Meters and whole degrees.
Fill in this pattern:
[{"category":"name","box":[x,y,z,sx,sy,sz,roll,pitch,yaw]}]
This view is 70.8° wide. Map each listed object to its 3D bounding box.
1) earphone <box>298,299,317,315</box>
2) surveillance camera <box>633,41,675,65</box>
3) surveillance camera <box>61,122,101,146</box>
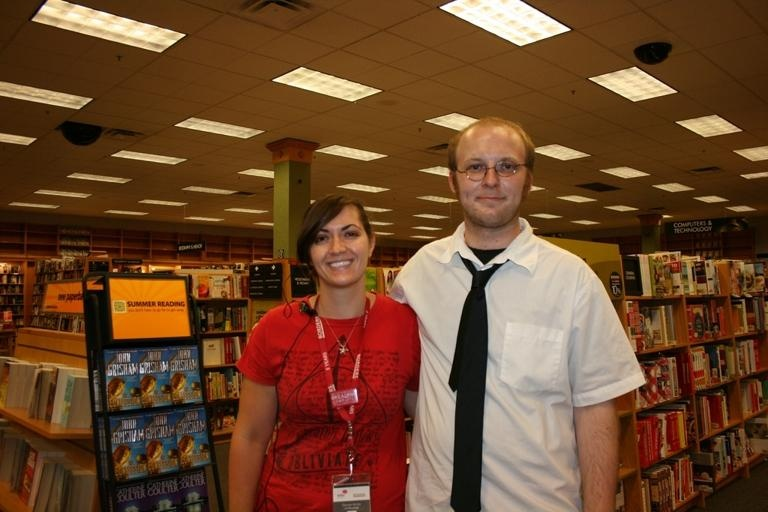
[{"category":"earphone","box":[-0.417,0.270,2.946,0.063,0.098,0.072,4,38,15]},{"category":"surveillance camera","box":[3.310,-2.482,6.626,0.421,0.130,0.620,-4,-4,35]},{"category":"surveillance camera","box":[-4.935,-2.018,8.714,0.423,0.261,0.400,4,-17,-4]}]
